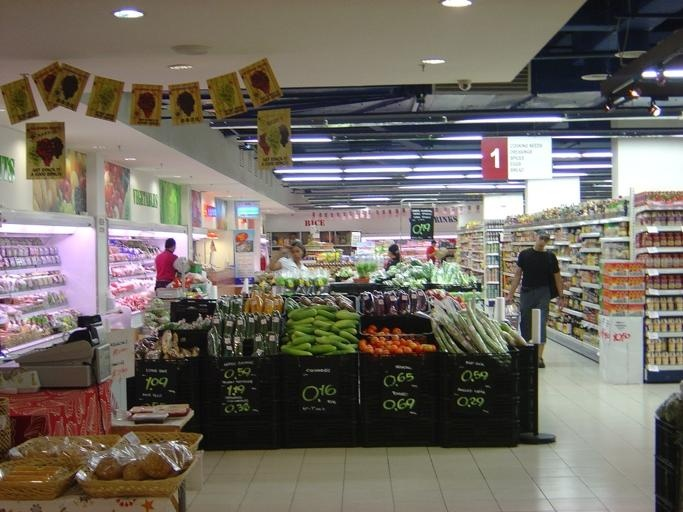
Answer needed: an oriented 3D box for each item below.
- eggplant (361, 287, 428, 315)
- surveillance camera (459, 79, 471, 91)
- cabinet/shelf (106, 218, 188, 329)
[{"bbox_3d":[0.621,0.499,5.612,0.670,0.262,0.466,-1,4,-5],"label":"eggplant"},{"bbox_3d":[1.613,-2.267,6.578,0.162,0.063,0.214,1,-11,3],"label":"surveillance camera"},{"bbox_3d":[-3.525,0.312,9.210,0.878,2.082,2.226,-1,1,9],"label":"cabinet/shelf"}]
